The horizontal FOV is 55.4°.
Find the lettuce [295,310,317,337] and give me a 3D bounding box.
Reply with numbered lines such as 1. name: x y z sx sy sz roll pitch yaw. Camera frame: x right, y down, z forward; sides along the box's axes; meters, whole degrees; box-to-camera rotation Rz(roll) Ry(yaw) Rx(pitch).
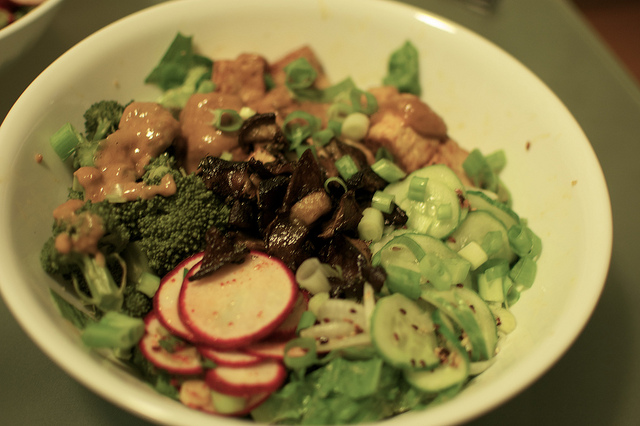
1. lettuce: -0.101 0.699 3.858 0.168 0.048 0.093 -38 84 -7

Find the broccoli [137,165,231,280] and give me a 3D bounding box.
1. broccoli: -0.970 0.098 4.097 0.591 0.189 0.685 5 78 -5

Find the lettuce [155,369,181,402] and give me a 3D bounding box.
1. lettuce: -0.950 1.082 3.796 0.133 0.060 0.189 1 71 -43

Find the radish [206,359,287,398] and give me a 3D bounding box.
1. radish: -0.457 1.030 3.763 0.488 0.122 0.197 -6 81 -3

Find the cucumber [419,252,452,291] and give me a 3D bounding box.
1. cucumber: 0.744 0.388 3.903 0.144 0.045 0.258 -39 85 -7

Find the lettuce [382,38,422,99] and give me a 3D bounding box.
1. lettuce: 0.658 -1.132 4.762 0.258 0.434 0.108 6 20 23

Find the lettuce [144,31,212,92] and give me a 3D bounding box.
1. lettuce: -1.086 -1.165 4.692 0.132 0.314 0.472 21 76 44

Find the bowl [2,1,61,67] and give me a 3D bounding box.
1. bowl: -2.156 -1.320 4.572 0.490 0.203 0.527 -11 36 8

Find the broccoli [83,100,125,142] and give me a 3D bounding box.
1. broccoli: -1.519 -0.674 4.391 0.187 0.264 0.333 -5 20 -11

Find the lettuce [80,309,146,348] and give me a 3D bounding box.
1. lettuce: -1.271 0.689 3.790 0.250 0.348 0.202 -6 106 -8

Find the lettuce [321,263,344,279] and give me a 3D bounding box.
1. lettuce: 0.077 0.379 3.963 0.120 0.090 0.037 37 90 4

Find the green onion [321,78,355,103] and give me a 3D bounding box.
1. green onion: 0.142 -0.962 4.825 0.248 0.075 0.066 -36 26 -3

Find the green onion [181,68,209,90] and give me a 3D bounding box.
1. green onion: -0.980 -1.057 4.785 0.214 0.054 0.120 -43 110 -24

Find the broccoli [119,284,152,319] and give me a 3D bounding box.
1. broccoli: -1.203 0.591 3.958 0.159 0.074 0.197 0 68 -2

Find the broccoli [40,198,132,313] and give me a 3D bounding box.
1. broccoli: -1.539 0.268 3.974 0.542 0.198 0.743 2 81 -2

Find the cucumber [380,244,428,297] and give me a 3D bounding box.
1. cucumber: 0.533 0.362 3.946 0.195 0.149 0.363 -6 45 -7
